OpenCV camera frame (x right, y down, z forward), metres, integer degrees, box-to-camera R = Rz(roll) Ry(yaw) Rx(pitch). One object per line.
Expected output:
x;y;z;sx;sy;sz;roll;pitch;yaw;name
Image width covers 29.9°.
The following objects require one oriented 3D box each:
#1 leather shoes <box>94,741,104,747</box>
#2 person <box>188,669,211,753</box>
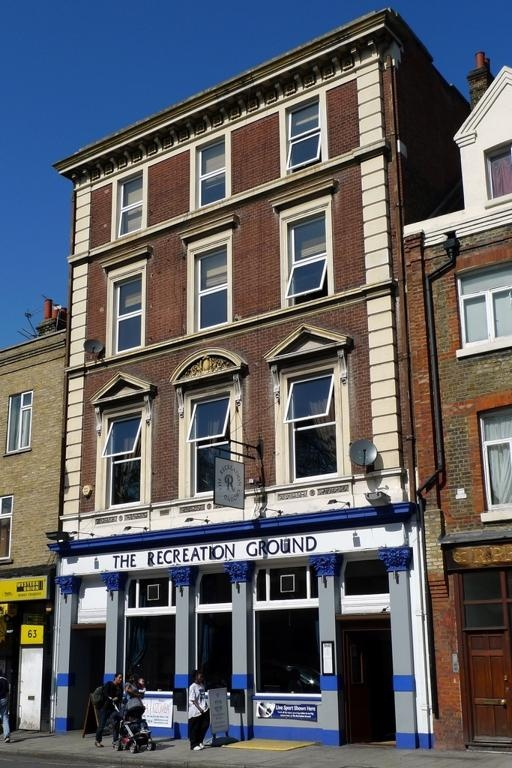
-3.334;7.585;20.180;0.094;0.100;0.195;6;-11;-39;leather shoes
-1.178;6.582;19.389;0.413;1.488;1.393;-2;-17;-4;person
